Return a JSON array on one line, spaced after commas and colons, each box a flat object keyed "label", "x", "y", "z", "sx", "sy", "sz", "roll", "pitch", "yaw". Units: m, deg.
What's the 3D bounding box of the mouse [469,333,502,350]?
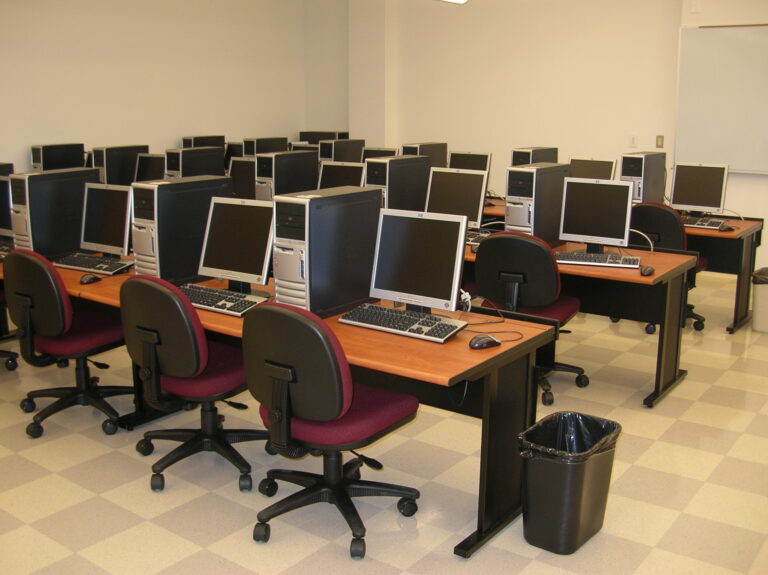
[{"label": "mouse", "x": 0.446, "y": 0.241, "z": 2.674, "sx": 0.112, "sy": 0.053, "sz": 0.146, "roll": 8, "pitch": 15, "yaw": 34}]

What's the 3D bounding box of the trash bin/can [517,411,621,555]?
[{"label": "trash bin/can", "x": 0.854, "y": 0.897, "z": 2.789, "sx": 0.365, "sy": 0.527, "sz": 0.464, "roll": 8, "pitch": 15, "yaw": 36}]

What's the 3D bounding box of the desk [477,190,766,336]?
[{"label": "desk", "x": 1.811, "y": -0.181, "z": 4.549, "sx": 1.174, "sy": 0.698, "sz": 0.650, "roll": 12, "pitch": 24, "yaw": 37}]

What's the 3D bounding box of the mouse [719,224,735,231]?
[{"label": "mouse", "x": 3.016, "y": -0.535, "z": 5.289, "sx": 0.115, "sy": 0.046, "sz": 0.187, "roll": 7, "pitch": 15, "yaw": 33}]

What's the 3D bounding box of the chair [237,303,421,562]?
[{"label": "chair", "x": -0.231, "y": 0.587, "z": 2.789, "sx": 0.629, "sy": 1.156, "sz": 0.618, "roll": 5, "pitch": 14, "yaw": 25}]

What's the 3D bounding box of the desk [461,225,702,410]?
[{"label": "desk", "x": 1.501, "y": 0.085, "z": 4.471, "sx": 1.917, "sy": 1.209, "sz": 1.008, "roll": 8, "pitch": 17, "yaw": 35}]

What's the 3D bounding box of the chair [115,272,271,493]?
[{"label": "chair", "x": -1.010, "y": 0.513, "z": 3.183, "sx": 0.825, "sy": 1.031, "sz": 0.756, "roll": 16, "pitch": 24, "yaw": 36}]
